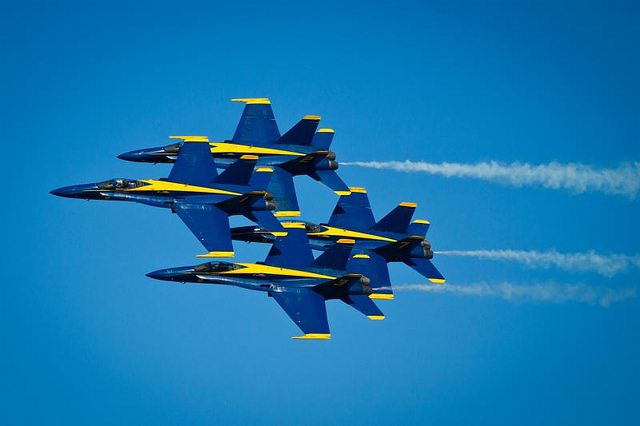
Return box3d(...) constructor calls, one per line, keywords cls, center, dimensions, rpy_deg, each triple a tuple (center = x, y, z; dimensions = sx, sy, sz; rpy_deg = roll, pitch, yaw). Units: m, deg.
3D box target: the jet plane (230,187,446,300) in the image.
box3d(cls="jet plane", center=(3.197, 1.388, 90.082), dimensions=(14.990, 7.983, 2.554), rpy_deg=(6, -48, -11))
